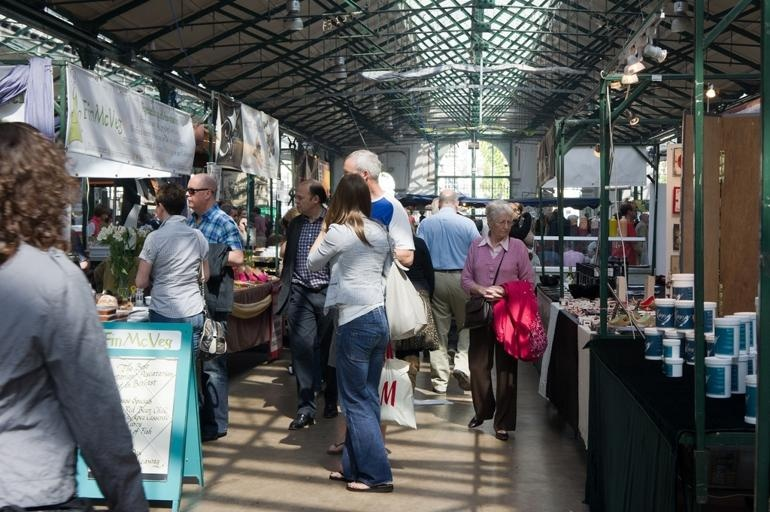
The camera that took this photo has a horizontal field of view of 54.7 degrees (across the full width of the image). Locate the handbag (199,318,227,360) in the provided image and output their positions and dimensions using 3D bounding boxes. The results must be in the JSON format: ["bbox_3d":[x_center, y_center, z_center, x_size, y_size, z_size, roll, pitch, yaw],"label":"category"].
[{"bbox_3d":[-1.240,0.585,5.437,0.122,0.291,0.310,1,5,13],"label":"handbag"}]

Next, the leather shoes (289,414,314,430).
[{"bbox_3d":[-0.696,1.365,6.149,0.077,0.103,0.222,-6,-10,37],"label":"leather shoes"}]

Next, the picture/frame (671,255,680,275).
[{"bbox_3d":[2.579,0.071,6.596,0.018,0.194,0.155,2,4,41],"label":"picture/frame"}]

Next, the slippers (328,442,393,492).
[{"bbox_3d":[-0.216,1.411,5.081,0.569,0.247,0.212,4,1,21],"label":"slippers"}]

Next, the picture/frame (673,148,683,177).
[{"bbox_3d":[2.656,-0.848,6.745,0.056,0.239,0.112,3,5,26],"label":"picture/frame"}]

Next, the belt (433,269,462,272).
[{"bbox_3d":[0.622,0.140,7.352,0.261,0.031,0.046,1,5,3],"label":"belt"}]

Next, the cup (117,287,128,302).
[{"bbox_3d":[-2.272,0.326,6.406,0.072,0.202,0.081,-8,-10,20],"label":"cup"}]

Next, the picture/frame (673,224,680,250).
[{"bbox_3d":[2.771,-0.178,7.076,0.058,0.255,0.134,2,4,15],"label":"picture/frame"}]

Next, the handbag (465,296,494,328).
[{"bbox_3d":[0.743,0.435,5.812,0.190,0.202,0.108,-8,-20,34],"label":"handbag"}]

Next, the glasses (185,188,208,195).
[{"bbox_3d":[-1.487,-0.507,5.835,0.161,0.048,0.057,3,5,19],"label":"glasses"}]

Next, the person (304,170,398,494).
[{"bbox_3d":[-0.210,0.516,4.818,0.522,2.064,0.190,1,4,1],"label":"person"}]

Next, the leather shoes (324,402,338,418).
[{"bbox_3d":[-0.471,1.324,6.443,0.081,0.106,0.234,0,-10,0],"label":"leather shoes"}]
